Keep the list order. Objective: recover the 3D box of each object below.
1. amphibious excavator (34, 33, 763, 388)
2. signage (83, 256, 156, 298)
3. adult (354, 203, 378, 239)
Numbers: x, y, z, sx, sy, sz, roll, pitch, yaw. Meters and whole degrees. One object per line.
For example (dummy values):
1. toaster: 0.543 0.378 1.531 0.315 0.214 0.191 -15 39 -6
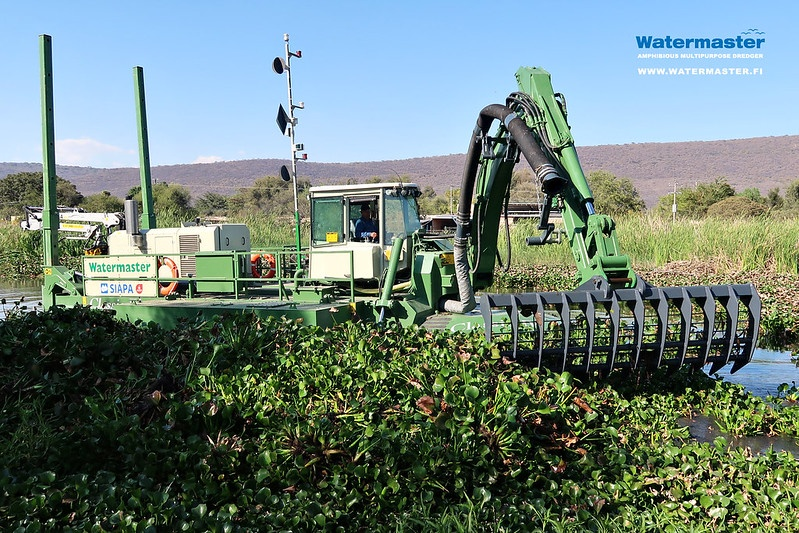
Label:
1. amphibious excavator: -0.674 -1.336 13.377 12.394 5.888 4.478 -4 2 10
2. signage: -5.702 0.214 14.365 0.098 0.870 1.918 -5 -2 15
3. adult: -0.594 -0.832 13.238 0.343 0.643 0.420 7 15 41
